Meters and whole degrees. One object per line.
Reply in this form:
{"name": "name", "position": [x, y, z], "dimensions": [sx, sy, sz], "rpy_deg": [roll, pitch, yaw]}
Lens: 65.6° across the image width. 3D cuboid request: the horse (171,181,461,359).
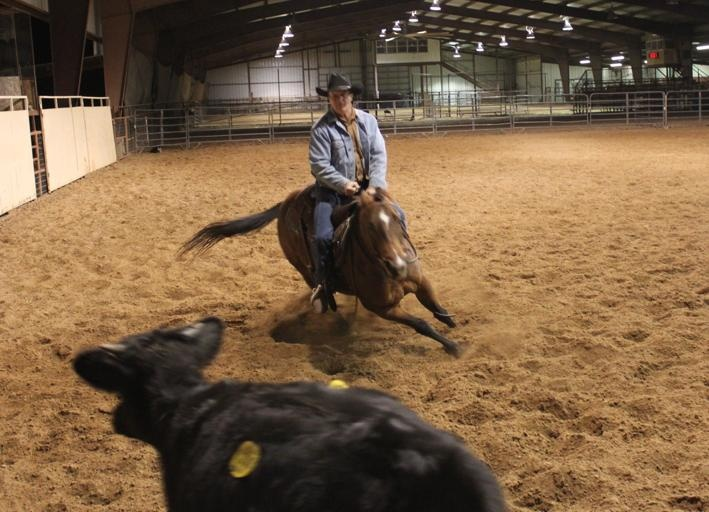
{"name": "horse", "position": [-0.364, -0.037, 4.771], "dimensions": [0.905, 1.233, 3.264], "rpy_deg": [-23, 22, -35]}
